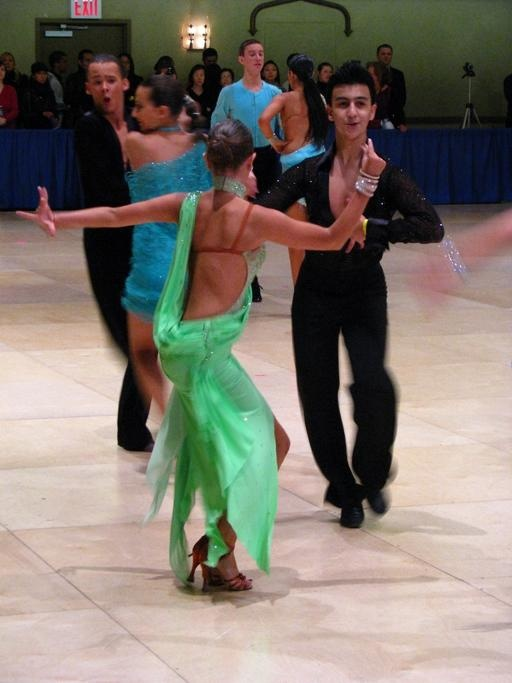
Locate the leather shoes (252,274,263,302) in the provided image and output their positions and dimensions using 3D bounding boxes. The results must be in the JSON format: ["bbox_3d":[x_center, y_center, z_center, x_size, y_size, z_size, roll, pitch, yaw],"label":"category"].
[{"bbox_3d":[0.008,-0.598,7.924,0.110,0.281,0.127,0,-4,-13],"label":"leather shoes"}]

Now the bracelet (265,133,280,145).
[{"bbox_3d":[0.174,-1.998,6.834,0.165,0.063,0.195,1,4,3],"label":"bracelet"}]

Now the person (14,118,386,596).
[{"bbox_3d":[-0.135,0.070,2.152,0.902,1.431,0.382,2,3,19],"label":"person"}]
